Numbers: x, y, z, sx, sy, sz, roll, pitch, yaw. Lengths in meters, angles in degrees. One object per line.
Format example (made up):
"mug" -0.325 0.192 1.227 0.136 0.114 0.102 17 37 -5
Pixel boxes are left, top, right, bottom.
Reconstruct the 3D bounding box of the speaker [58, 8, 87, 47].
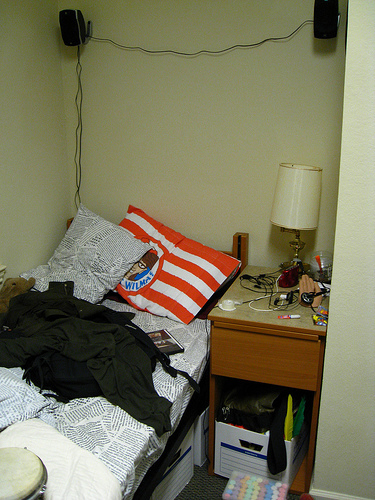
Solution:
"speaker" -0.613 -1.196 2.069 0.130 0.152 0.143 3 16 -5

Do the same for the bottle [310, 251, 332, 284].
"bottle" 0.602 0.082 1.791 0.113 0.133 0.123 -12 14 3

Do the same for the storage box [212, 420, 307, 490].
"storage box" 0.291 0.771 1.568 0.289 0.218 0.294 6 -1 25

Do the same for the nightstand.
"nightstand" 0.347 0.550 1.733 0.420 0.671 0.568 6 16 12

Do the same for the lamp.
"lamp" 0.501 -0.148 1.798 0.204 0.490 0.341 9 16 17
